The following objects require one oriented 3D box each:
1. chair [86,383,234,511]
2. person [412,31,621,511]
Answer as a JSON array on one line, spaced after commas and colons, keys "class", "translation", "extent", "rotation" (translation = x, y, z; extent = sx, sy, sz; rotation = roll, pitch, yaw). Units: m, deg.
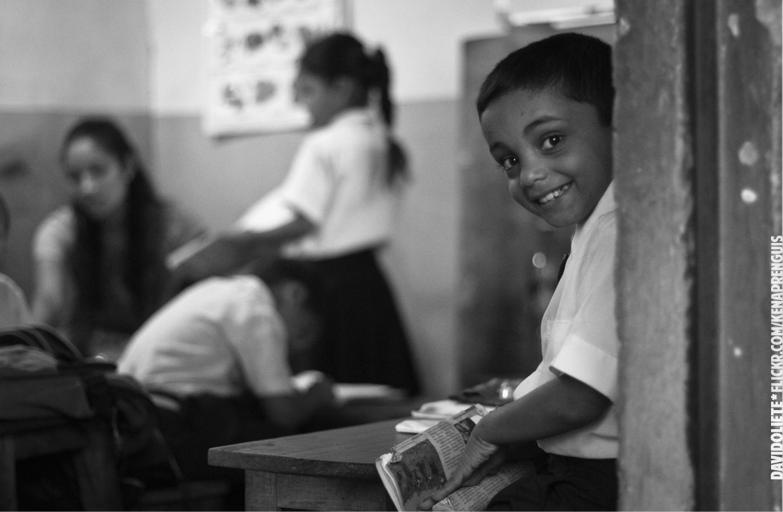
[{"class": "chair", "translation": [-0.494, 0.447, 2.263], "extent": [0.318, 0.408, 0.226], "rotation": [-2, -1, 6]}, {"class": "person", "translation": [0.224, 0.022, 1.603], "extent": [0.307, 0.789, 0.269], "rotation": [-1, 9, 13]}]
